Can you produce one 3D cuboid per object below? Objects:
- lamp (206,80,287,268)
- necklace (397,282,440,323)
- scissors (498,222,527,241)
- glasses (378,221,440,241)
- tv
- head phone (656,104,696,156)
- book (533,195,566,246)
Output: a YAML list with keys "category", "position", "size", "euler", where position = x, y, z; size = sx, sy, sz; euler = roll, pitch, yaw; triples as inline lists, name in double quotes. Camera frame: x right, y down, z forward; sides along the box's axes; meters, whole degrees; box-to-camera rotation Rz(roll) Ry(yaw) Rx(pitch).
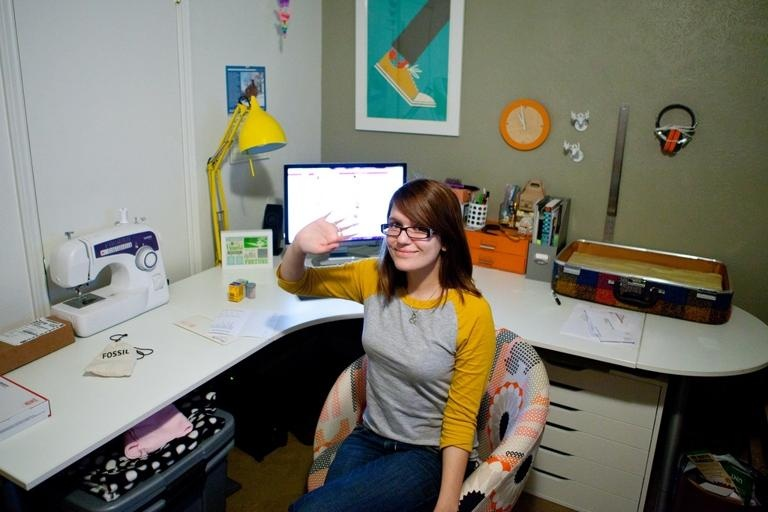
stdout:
- category: "lamp"
  position: [-0.792, -0.463, 2.909]
  size: [0.434, 1.001, 0.488]
  euler: [-9, 19, -23]
- category: "necklace"
  position: [0.139, 0.177, 1.949]
  size: [0.120, 0.041, 0.169]
  euler: [1, 39, 19]
- category: "scissors"
  position: [0.756, -0.134, 2.999]
  size: [0.103, 0.025, 0.104]
  euler: [19, 15, -4]
- category: "glasses"
  position: [0.093, -0.087, 1.892]
  size: [0.178, 0.057, 0.042]
  euler: [3, 18, 12]
- category: "tv"
  position: [-0.213, -0.231, 2.605]
  size: [0.552, 0.421, 0.159]
  euler: [-2, 10, -9]
- category: "head phone"
  position: [1.571, -0.694, 2.767]
  size: [0.186, 0.259, 0.108]
  euler: [6, -8, 24]
- category: "book"
  position: [0.921, -0.188, 2.857]
  size: [0.125, 0.220, 0.223]
  euler: [10, 20, 31]
